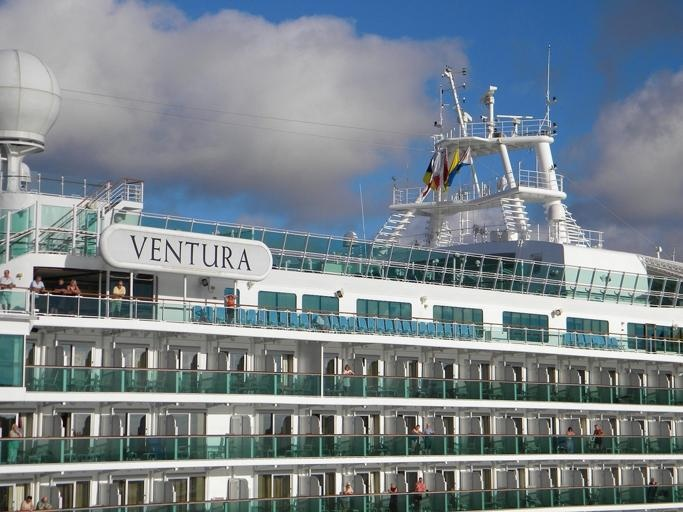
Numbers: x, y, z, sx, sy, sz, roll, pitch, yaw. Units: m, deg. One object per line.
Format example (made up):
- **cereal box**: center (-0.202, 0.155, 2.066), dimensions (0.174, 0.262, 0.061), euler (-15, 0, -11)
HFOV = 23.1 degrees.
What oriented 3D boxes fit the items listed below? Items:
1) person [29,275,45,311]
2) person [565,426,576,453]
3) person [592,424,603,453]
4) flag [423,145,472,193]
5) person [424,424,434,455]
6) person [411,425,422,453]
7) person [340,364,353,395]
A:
- **person**: center (-13.734, 1.711, 75.024), dimensions (0.706, 1.575, 1.039), euler (2, -13, -11)
- **person**: center (12.168, 9.606, 88.402), dimensions (0.518, 1.409, 1.036), euler (-4, -13, 12)
- **person**: center (13.739, 9.648, 89.239), dimensions (0.508, 1.421, 0.682), euler (-3, -14, 10)
- **flag**: center (6.237, -5.235, 99.461), dimensions (2.802, 2.575, 1.353), euler (-4, -14, 13)
- **person**: center (4.367, 9.104, 84.246), dimensions (0.453, 1.571, 0.838), euler (-1, -13, 3)
- **person**: center (3.759, 9.097, 83.912), dimensions (0.487, 1.501, 0.890), euler (-1, -13, 2)
- **person**: center (0.275, 5.961, 82.468), dimensions (0.572, 1.490, 1.393), euler (-1, -13, 0)
